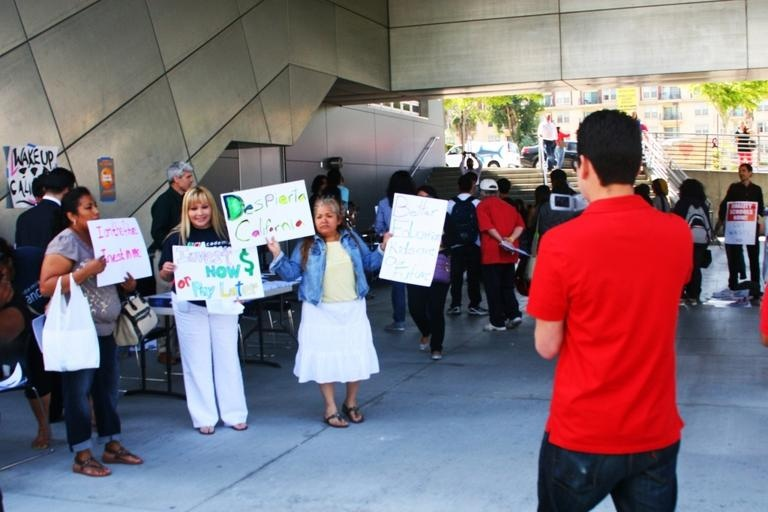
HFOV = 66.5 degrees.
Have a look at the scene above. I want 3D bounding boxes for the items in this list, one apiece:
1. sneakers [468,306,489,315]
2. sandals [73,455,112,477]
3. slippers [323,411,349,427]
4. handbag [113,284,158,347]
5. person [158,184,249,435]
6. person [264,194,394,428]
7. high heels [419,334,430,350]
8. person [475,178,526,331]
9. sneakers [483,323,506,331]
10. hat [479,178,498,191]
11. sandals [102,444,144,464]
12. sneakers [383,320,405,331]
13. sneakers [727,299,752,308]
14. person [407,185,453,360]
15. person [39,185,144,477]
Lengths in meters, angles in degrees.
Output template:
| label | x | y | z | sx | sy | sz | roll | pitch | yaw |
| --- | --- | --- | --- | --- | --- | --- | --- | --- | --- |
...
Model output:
| label | x | y | z | sx | sy | sz | roll | pitch | yaw |
| --- | --- | --- | --- | --- | --- | --- | --- | --- | --- |
| sneakers | 1.678 | 0.971 | 10.387 | 0.262 | 0.105 | 0.142 | -2 | 4 | -9 |
| sandals | -2.279 | 1.654 | 4.637 | 0.281 | 0.110 | 0.148 | 0 | 1 | 23 |
| slippers | -0.427 | 1.528 | 5.462 | 0.114 | 0.069 | 0.213 | -1 | -3 | -34 |
| handbag | -2.135 | 0.544 | 5.129 | 0.211 | 0.432 | 0.499 | 0 | 15 | 2 |
| person | -1.647 | 0.498 | 5.401 | 0.685 | 2.257 | 0.419 | -4 | 7 | -16 |
| person | -0.496 | 0.508 | 5.524 | 0.975 | 2.165 | 0.461 | -2 | 7 | -1 |
| high heels | 0.576 | 1.200 | 8.111 | 0.188 | 0.246 | 0.138 | -3 | 10 | 13 |
| person | 1.767 | -0.008 | 8.878 | 0.637 | 2.306 | 0.686 | 1 | 7 | 22 |
| sneakers | 1.711 | 1.108 | 9.052 | 0.335 | 0.155 | 0.121 | 6 | 5 | 10 |
| hat | 1.595 | -1.086 | 8.937 | 0.176 | 0.124 | 0.238 | 4 | 9 | 0 |
| sandals | -2.147 | 1.645 | 4.890 | 0.361 | 0.151 | 0.145 | 2 | -1 | 0 |
| sneakers | 0.174 | 1.113 | 9.329 | 0.307 | 0.205 | 0.132 | 4 | -1 | 8 |
| sneakers | 6.188 | 0.835 | 10.235 | 0.421 | 0.166 | 0.142 | 2 | -4 | 5 |
| person | 0.588 | 0.210 | 7.619 | 0.534 | 2.247 | 1.005 | -1 | 7 | 4 |
| person | -2.291 | 0.590 | 4.679 | 0.674 | 2.264 | 0.463 | -7 | 8 | -35 |
